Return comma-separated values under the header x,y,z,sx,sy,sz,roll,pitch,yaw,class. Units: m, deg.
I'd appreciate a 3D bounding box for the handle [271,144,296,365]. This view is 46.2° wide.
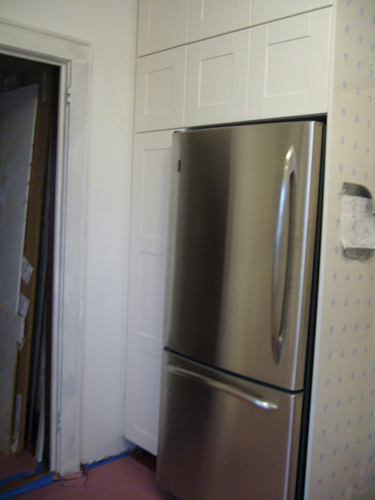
x,y,z,sx,sy,sz,roll,pitch,yaw,class
0.308,0.022,1.437,0.062,0.722,0.018,5,8,30,handle

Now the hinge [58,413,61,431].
x,y,z,sx,sy,sz,roll,pitch,yaw,class
-0.598,0.804,2.055,0.016,0.075,0.010,3,7,12,hinge

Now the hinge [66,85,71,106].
x,y,z,sx,sy,sz,roll,pitch,yaw,class
-0.529,-0.689,1.960,0.031,0.084,0.006,8,10,41,hinge
